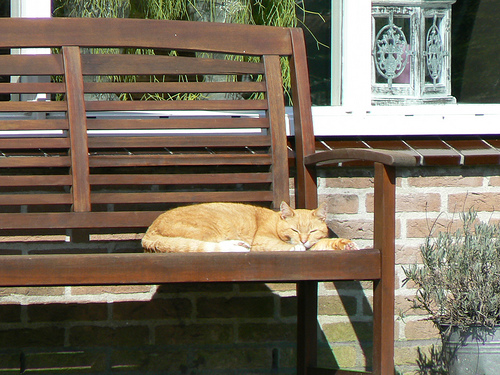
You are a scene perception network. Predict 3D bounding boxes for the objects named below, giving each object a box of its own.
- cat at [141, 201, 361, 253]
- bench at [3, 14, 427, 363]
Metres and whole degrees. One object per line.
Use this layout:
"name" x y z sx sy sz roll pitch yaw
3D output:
"cat" -0.046 0.151 4.023 0.583 0.164 0.314 -2 -10 0
"bench" -0.184 0.058 4.143 1.525 1.058 0.590 0 1 -13
